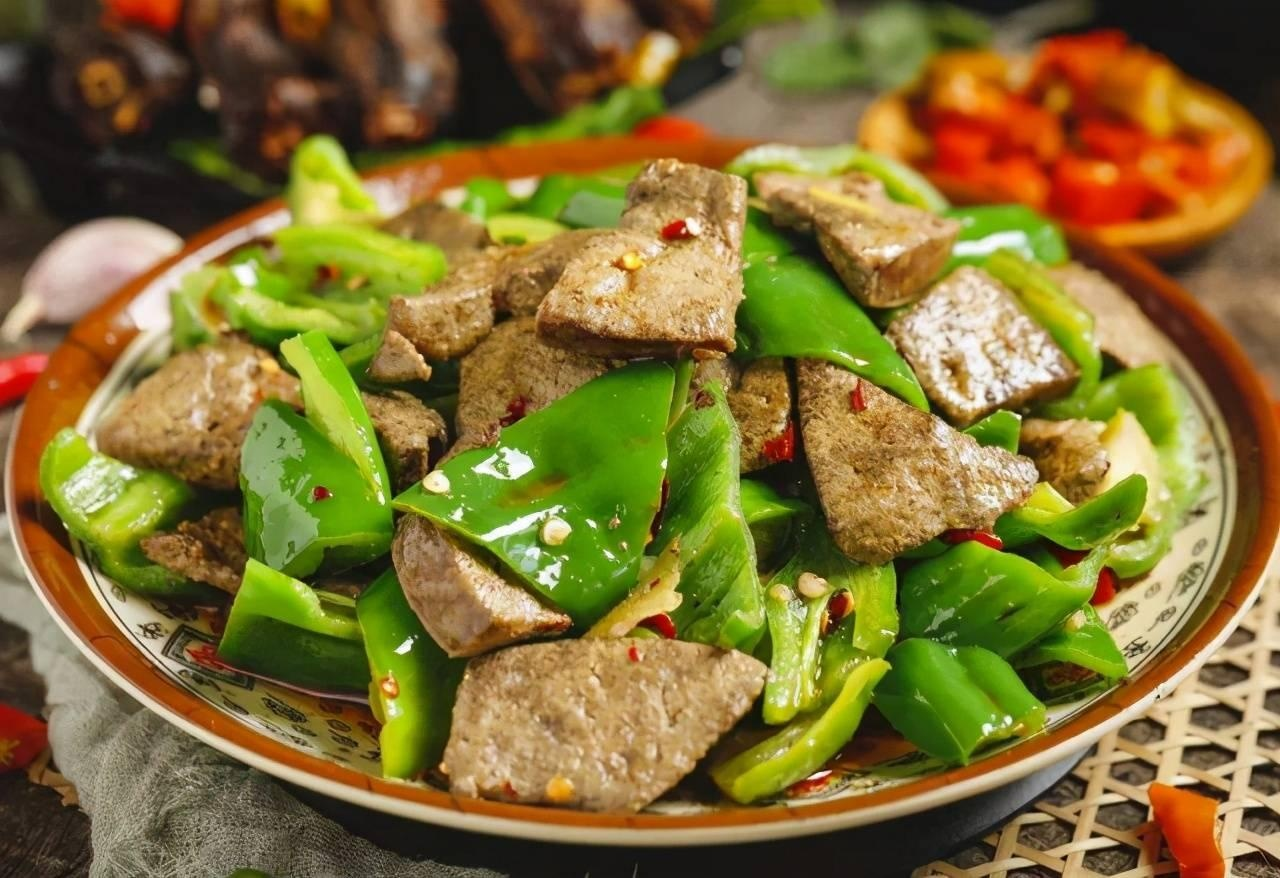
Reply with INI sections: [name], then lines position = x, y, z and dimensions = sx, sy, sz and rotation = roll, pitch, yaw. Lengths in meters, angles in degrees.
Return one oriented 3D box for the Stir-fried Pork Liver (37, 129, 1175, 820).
[Stir-fried Pork Liver]
position = -0.633, -0.261, 5.724
dimensions = 3.452, 3.568, 2.554
rotation = 1, 106, -15
